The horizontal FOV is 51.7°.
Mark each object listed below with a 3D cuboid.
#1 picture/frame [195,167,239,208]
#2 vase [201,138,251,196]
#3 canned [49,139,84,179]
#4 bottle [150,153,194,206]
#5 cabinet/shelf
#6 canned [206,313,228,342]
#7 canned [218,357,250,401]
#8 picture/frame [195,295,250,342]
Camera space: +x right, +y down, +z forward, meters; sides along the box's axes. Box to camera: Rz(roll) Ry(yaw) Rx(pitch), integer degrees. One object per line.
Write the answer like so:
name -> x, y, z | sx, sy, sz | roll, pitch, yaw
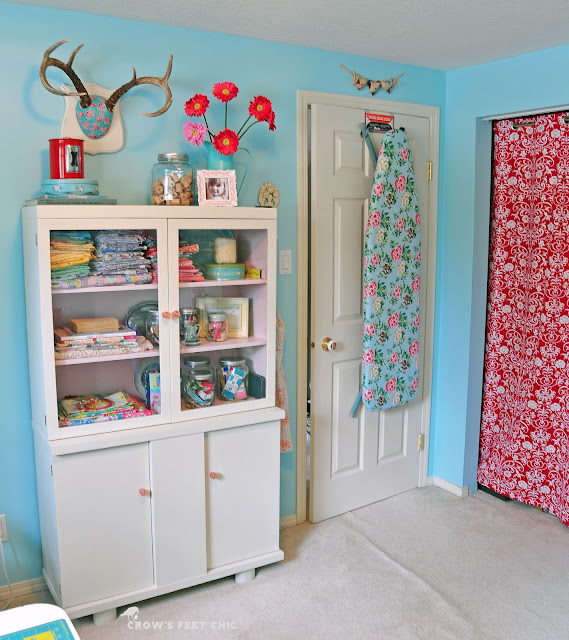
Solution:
picture/frame -> -0.272, -0.518, 2.307 | 0.203, 0.184, 0.019 | -3, -3, -24
vase -> -0.263, -0.648, 2.452 | 0.231, 0.255, 0.141 | -2, 7, -14
canned -> -0.776, -0.553, 2.085 | 0.148, 0.136, 0.143 | -1, 6, -22
bottle -> -0.435, -0.536, 2.258 | 0.163, 0.200, 0.183 | 0, 10, -10
cabinet/shelf -> -0.471, 0.344, 2.330 | 0.937, 1.576, 0.328 | -4, 11, -33
canned -> -0.279, 0.028, 2.399 | 0.111, 0.147, 0.109 | 0, 3, 2
canned -> -0.229, 0.249, 2.524 | 0.135, 0.179, 0.141 | -7, 18, -43
picture/frame -> -0.269, -0.008, 2.418 | 0.204, 0.157, 0.016 | -6, 8, -37
